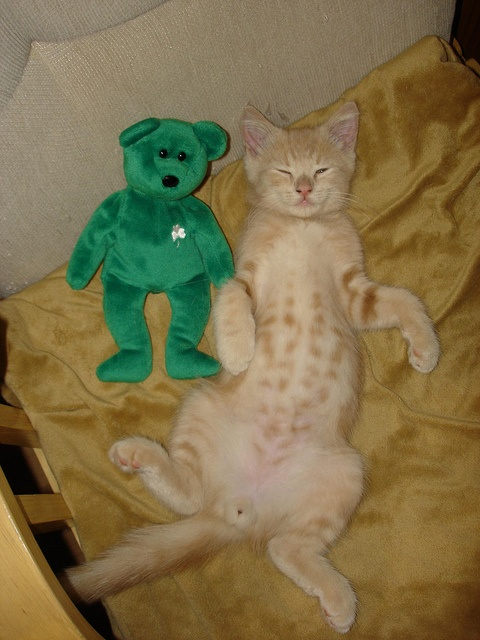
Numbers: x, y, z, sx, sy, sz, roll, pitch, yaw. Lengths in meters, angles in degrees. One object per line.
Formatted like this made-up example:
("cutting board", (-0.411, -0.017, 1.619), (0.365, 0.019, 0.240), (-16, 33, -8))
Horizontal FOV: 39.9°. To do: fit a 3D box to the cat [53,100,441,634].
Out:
("cat", (0.128, 0.076, 1.731), (0.813, 0.368, 1.115), (6, 86, 5))
